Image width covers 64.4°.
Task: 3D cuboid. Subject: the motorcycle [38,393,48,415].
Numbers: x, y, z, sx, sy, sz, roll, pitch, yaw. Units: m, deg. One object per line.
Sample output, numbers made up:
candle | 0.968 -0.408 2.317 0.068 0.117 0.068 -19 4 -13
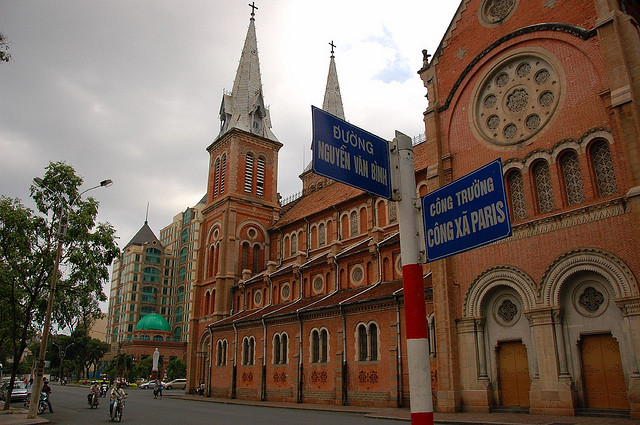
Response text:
motorcycle | -16.725 11.620 30.787 0.433 1.265 1.607 11 -26 -25

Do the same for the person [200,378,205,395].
person | -11.485 17.105 49.680 0.405 1.537 2.134 5 -24 -12

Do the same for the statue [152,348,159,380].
statue | -25.378 23.611 78.944 0.919 4.631 2.195 7 -24 -16

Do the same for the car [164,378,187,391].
car | -18.957 22.739 67.037 1.608 1.553 3.676 -7 -25 15
